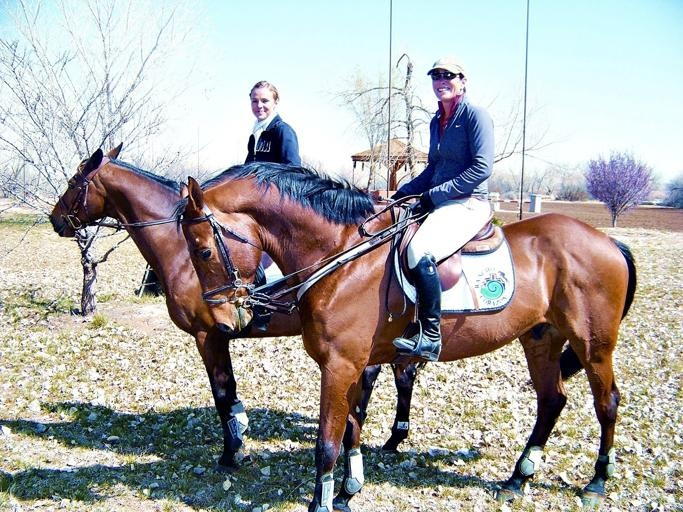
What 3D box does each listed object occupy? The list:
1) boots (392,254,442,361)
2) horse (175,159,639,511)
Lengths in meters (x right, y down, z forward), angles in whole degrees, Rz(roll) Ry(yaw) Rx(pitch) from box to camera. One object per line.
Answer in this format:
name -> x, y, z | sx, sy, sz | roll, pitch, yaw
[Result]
boots -> 0.705, 0.507, 5.029 | 0.400, 0.997, 0.329 | 1, 12, 8
horse -> 0.610, 1.014, 5.791 | 3.283, 2.802, 1.070 | 0, 7, -3
